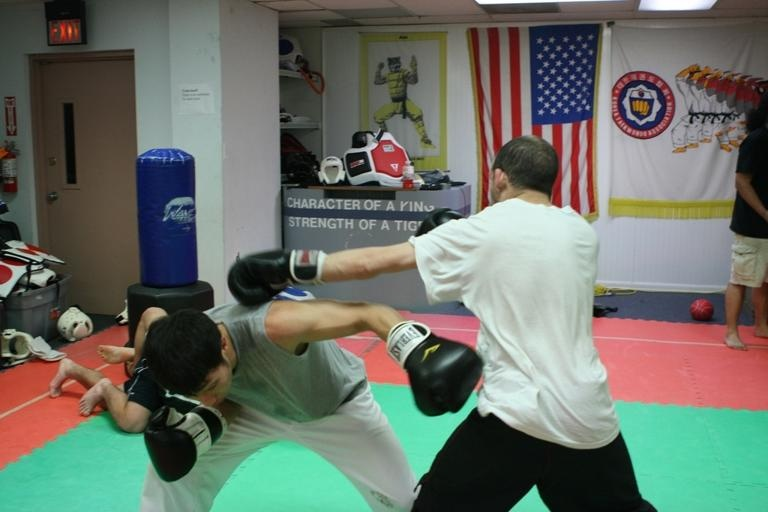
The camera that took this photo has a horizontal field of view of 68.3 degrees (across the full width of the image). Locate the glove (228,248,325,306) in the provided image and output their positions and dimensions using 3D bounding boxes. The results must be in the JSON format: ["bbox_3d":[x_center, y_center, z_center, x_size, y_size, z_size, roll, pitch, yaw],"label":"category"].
[{"bbox_3d":[-0.451,0.075,2.369,0.341,0.139,0.230,-20,-16,-16],"label":"glove"}]

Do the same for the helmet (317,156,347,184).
[{"bbox_3d":[-0.618,-1.013,6.674,0.275,0.332,0.309,-2,3,-3],"label":"helmet"}]

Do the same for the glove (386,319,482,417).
[{"bbox_3d":[0.179,0.431,2.285,0.296,0.173,0.394,-36,64,-18],"label":"glove"}]

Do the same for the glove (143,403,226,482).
[{"bbox_3d":[-0.890,0.801,2.555,0.172,0.303,0.365,-6,22,40],"label":"glove"}]

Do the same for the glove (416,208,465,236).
[{"bbox_3d":[0.254,-0.160,2.617,0.190,0.156,0.142,-2,6,-18],"label":"glove"}]
